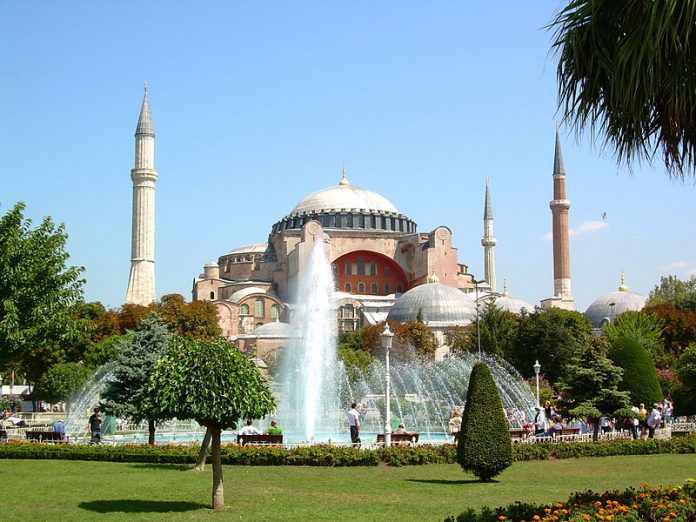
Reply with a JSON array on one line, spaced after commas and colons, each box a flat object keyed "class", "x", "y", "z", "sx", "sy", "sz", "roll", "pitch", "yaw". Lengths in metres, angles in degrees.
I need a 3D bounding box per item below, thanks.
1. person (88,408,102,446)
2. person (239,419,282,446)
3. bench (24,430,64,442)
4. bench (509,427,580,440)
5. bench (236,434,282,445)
[{"class": "person", "x": -6.974, "y": 4.564, "z": 31.019, "sx": 0.337, "sy": 0.985, "sz": 1.481, "roll": 0, "pitch": -10, "yaw": -13}, {"class": "person", "x": -2.289, "y": 4.702, "z": 30.123, "sx": 1.207, "sy": 0.752, "sz": 1.172, "roll": 0, "pitch": -2, "yaw": 5}, {"class": "bench", "x": -8.385, "y": 4.883, "z": 31.035, "sx": 0.989, "sy": 0.359, "sz": 1.671, "roll": 0, "pitch": -10, "yaw": -16}, {"class": "bench", "x": 5.918, "y": 5.169, "z": 33.319, "sx": 1.850, "sy": 0.335, "sz": 4.097, "roll": -4, "pitch": -10, "yaw": 12}, {"class": "bench", "x": -2.305, "y": 4.740, "z": 29.661, "sx": 1.210, "sy": 0.278, "sz": 0.782, "roll": -1, "pitch": -9, "yaw": -5}]
